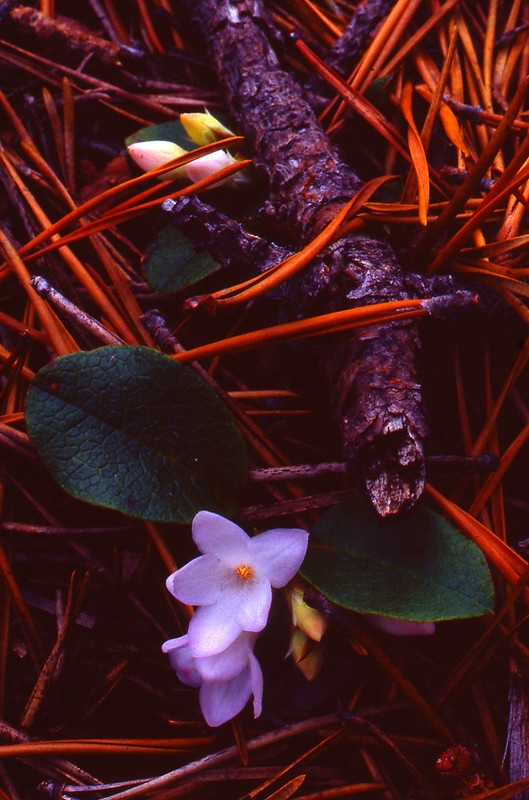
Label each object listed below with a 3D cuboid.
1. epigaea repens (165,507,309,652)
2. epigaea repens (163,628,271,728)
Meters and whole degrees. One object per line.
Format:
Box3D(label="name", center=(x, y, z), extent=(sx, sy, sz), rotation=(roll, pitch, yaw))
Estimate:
Box3D(label="epigaea repens", center=(-0.045, 0.228, 0.935), extent=(0.141, 0.086, 0.177), rotation=(22, 64, 2))
Box3D(label="epigaea repens", center=(-0.055, 0.353, 0.964), extent=(0.049, 0.123, 0.130), rotation=(-15, 29, -42))
